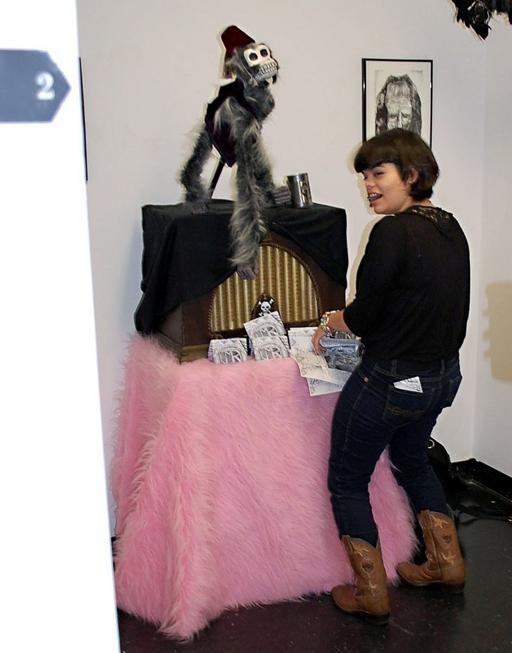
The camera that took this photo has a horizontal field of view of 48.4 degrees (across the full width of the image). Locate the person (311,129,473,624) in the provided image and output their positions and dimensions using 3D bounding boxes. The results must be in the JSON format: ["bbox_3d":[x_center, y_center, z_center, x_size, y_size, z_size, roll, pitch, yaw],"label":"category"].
[{"bbox_3d":[0.453,0.165,1.771,0.444,1.499,0.392,-6,8,-29],"label":"person"}]

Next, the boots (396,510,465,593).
[{"bbox_3d":[0.602,0.782,1.976,0.129,0.239,0.264,11,-18,-42],"label":"boots"}]

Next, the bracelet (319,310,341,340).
[{"bbox_3d":[0.238,-0.005,1.854,0.031,0.076,0.064,4,-1,44],"label":"bracelet"}]

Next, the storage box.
[{"bbox_3d":[-0.055,-0.183,1.981,0.811,0.521,0.509,-5,12,-22],"label":"storage box"}]

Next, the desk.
[{"bbox_3d":[0.258,0.521,2.060,1.056,0.694,1.008,-12,-6,35],"label":"desk"}]

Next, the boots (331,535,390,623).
[{"bbox_3d":[0.329,0.786,1.811,0.129,0.251,0.219,-2,-1,-37],"label":"boots"}]
